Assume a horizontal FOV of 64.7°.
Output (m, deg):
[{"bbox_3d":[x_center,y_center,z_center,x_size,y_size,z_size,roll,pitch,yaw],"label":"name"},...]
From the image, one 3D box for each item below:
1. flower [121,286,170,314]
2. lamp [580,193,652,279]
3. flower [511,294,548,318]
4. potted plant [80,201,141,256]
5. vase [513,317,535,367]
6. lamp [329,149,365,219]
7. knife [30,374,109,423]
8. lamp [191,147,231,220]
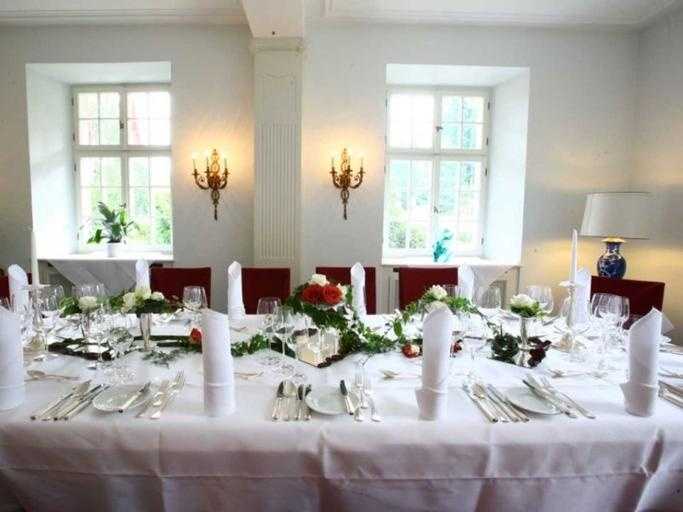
[{"bbox_3d":[-1.105,0.261,3.058,0.169,0.100,0.178,3,1,-12],"label":"flower"},{"bbox_3d":[2.378,-0.141,4.685,0.481,0.776,0.501,4,1,-16],"label":"lamp"},{"bbox_3d":[1.057,0.265,3.094,0.138,0.092,0.146,3,-2,12],"label":"flower"},{"bbox_3d":[-2.292,-0.241,5.433,0.462,0.501,0.399,-4,-15,-6],"label":"potted plant"},{"bbox_3d":[1.049,0.487,3.093,0.136,0.273,0.150,4,-14,1],"label":"vase"},{"bbox_3d":[0.055,-0.698,5.162,0.341,0.689,0.136,0,4,-1],"label":"lamp"},{"bbox_3d":[-1.334,0.696,2.688,0.104,0.036,0.380,9,13,4],"label":"knife"},{"bbox_3d":[-1.265,-0.692,5.235,0.358,0.695,0.151,-1,4,-13],"label":"lamp"}]
